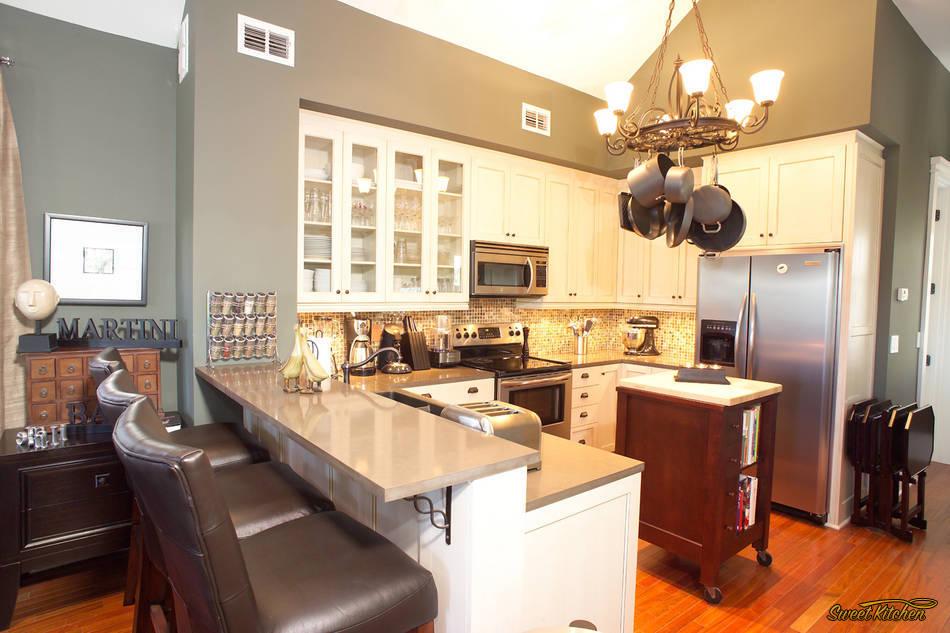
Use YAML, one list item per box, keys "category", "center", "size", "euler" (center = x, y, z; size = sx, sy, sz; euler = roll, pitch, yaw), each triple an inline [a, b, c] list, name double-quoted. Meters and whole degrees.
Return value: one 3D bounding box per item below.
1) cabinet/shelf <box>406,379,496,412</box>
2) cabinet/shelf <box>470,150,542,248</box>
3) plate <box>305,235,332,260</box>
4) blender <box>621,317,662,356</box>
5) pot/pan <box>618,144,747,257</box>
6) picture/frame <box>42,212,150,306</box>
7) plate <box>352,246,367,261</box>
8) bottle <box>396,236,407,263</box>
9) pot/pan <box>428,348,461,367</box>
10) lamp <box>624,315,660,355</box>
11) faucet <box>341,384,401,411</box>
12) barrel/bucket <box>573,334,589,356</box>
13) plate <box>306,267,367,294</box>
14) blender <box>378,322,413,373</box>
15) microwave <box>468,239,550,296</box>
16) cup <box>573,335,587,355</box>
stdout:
- category: "cabinet/shelf"
  center: [-0.102, 0.632, 5.414]
  size: [0.469, 0.324, 0.267]
  euler: [-2, 3, -39]
- category: "cabinet/shelf"
  center: [0.258, -1.108, 6.080]
  size: [0.981, 0.843, 0.375]
  euler: [0, 0, -37]
- category: "plate"
  center: [-1.271, -0.552, 5.224]
  size: [0.200, 0.162, 0.189]
  euler: [0, 0, -13]
- category: "blender"
  center: [1.769, 0.205, 6.895]
  size: [0.299, 0.482, 0.445]
  euler: [-3, 6, -37]
- category: "pot/pan"
  center: [1.320, -0.734, 4.182]
  size: [0.759, 0.606, 0.426]
  euler: [-2, 4, -26]
- category: "picture/frame"
  center: [-2.984, -0.441, 5.022]
  size: [0.772, 0.828, 0.063]
  euler: [0, -4, -32]
- category: "plate"
  center: [-0.970, -0.525, 5.391]
  size: [0.115, 0.080, 0.114]
  euler: [0, 0, -14]
- category: "bottle"
  center: [-0.640, -0.581, 5.562]
  size: [0.114, 0.199, 0.011]
  euler: [-4, 5, -38]
- category: "pot/pan"
  center: [-0.301, 0.357, 5.906]
  size: [0.192, 0.115, 0.185]
  euler: [0, 0, -32]
- category: "lamp"
  center: [1.796, 0.212, 6.890]
  size: [0.434, 0.475, 0.298]
  euler: [-2, 6, -23]
- category: "faucet"
  center: [-0.689, 0.532, 4.222]
  size: [0.272, 0.100, 0.057]
  euler: [18, 18, 37]
- category: "barrel/bucket"
  center: [1.132, 0.305, 6.966]
  size: [0.199, 0.223, 0.199]
  euler: [0, 1, 0]
- category: "plate"
  center: [-1.122, -0.303, 5.307]
  size: [0.578, 0.209, 0.147]
  euler: [-2, 3, -16]
- category: "blender"
  center: [-0.714, 0.267, 5.706]
  size: [0.383, 0.662, 0.360]
  euler: [0, -2, -7]
- category: "microwave"
  center: [0.304, -0.430, 6.082]
  size: [0.851, 0.520, 0.459]
  euler: [0, 0, -38]
- category: "cup"
  center: [1.122, 0.298, 6.954]
  size: [0.168, 0.189, 0.170]
  euler: [0, 1, 0]
